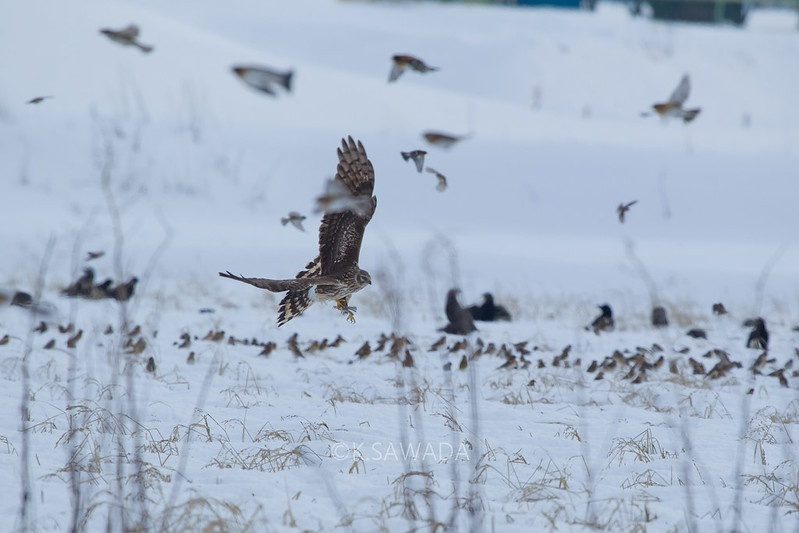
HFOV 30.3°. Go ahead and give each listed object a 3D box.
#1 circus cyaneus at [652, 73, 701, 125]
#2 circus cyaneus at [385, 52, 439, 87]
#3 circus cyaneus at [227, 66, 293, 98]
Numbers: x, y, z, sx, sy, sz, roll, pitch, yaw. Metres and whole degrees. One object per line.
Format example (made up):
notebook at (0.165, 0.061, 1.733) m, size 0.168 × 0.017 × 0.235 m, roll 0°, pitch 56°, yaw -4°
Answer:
circus cyaneus at (3.648, -2.118, 20.045) m, size 0.314 × 0.769 × 0.423 m, roll 25°, pitch 36°, yaw 14°
circus cyaneus at (0.140, -2.620, 19.420) m, size 0.520 × 0.376 × 0.820 m, roll 1°, pitch 12°, yaw 1°
circus cyaneus at (-1.837, -2.474, 19.635) m, size 0.762 × 0.366 × 0.461 m, roll 6°, pitch 13°, yaw 22°
